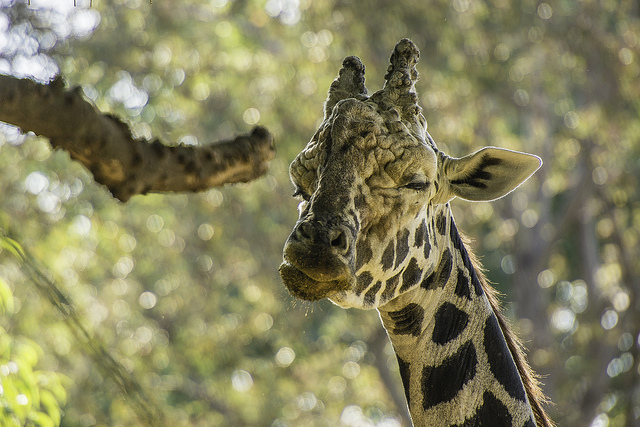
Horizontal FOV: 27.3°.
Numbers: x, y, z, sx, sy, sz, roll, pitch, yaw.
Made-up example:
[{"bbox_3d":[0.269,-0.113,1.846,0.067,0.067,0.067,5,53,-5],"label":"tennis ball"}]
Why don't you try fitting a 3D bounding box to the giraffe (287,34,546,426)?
[{"bbox_3d":[1.839,0.653,26.866,4.311,5.632,4.465,3,42,18],"label":"giraffe"}]
